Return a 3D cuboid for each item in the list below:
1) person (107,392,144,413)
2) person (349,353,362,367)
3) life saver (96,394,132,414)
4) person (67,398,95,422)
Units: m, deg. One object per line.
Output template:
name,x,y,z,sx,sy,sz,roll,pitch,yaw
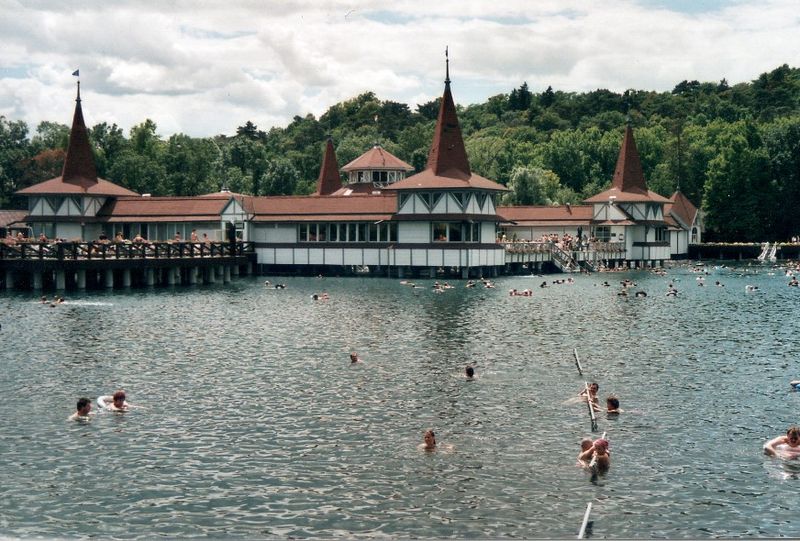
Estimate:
person,-12.906,6.096,54.211,1.013,0.457,1.260,-1,1,-32
person,-2.313,4.723,61.264,0.365,0.518,0.800,-1,6,-5
life saver,-13.357,6.213,54.325,0.979,0.514,1.451,-3,9,-42
person,-14.651,6.419,53.458,1.226,0.942,0.934,8,8,42
